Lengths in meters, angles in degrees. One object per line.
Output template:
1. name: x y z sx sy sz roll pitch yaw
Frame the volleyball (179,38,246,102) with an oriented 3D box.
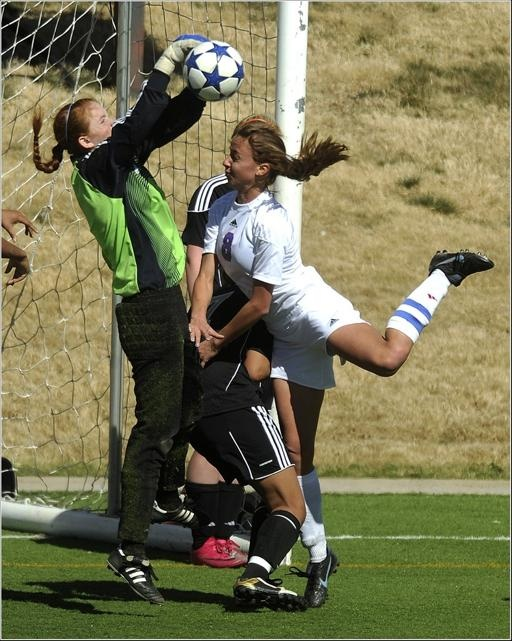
1. volleyball: -0.185 -1.068 5.350 0.286 0.255 0.359 -6 14 -15

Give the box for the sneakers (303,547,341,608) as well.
1. sneakers: 0.266 1.117 5.447 0.085 0.270 0.116 4 -25 33

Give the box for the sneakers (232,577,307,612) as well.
1. sneakers: 0.046 1.094 5.167 0.352 0.130 0.167 10 28 -7

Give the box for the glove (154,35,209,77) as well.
1. glove: -0.310 -1.068 5.234 0.177 0.205 0.165 -10 15 -22

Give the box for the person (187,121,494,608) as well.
1. person: 0.343 0.159 5.439 1.238 2.115 0.602 -4 0 5

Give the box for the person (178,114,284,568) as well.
1. person: -0.026 0.114 5.891 0.636 2.246 0.593 5 24 2

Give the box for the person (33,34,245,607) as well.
1. person: -0.530 0.005 5.248 0.615 2.403 0.581 1 4 -3
